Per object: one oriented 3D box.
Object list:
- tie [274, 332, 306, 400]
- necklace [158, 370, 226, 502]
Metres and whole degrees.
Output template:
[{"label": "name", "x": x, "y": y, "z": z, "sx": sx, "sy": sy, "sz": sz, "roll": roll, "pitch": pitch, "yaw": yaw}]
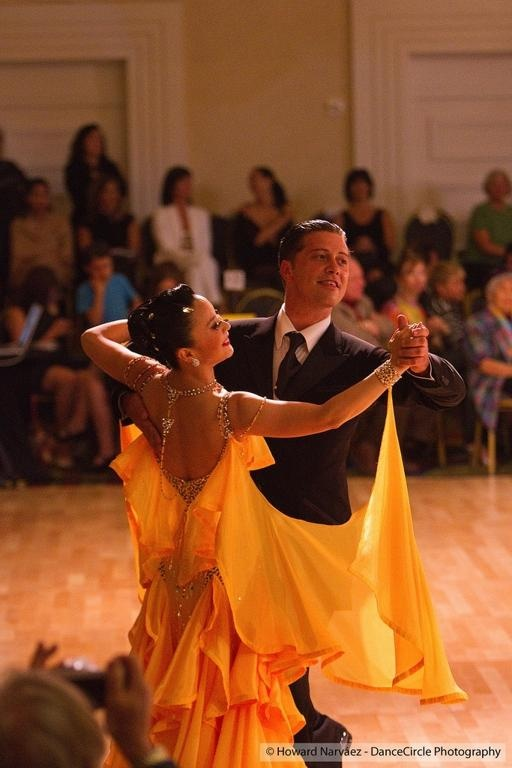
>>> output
[{"label": "tie", "x": 0.089, "y": -0.058, "z": 1.939, "sx": 0.065, "sy": 0.188, "sz": 0.058, "roll": 13, "pitch": -13, "yaw": 15}, {"label": "necklace", "x": -0.138, "y": 0.112, "z": 1.644, "sx": 0.174, "sy": 0.252, "sz": 0.065, "roll": 8, "pitch": -6, "yaw": 13}]
